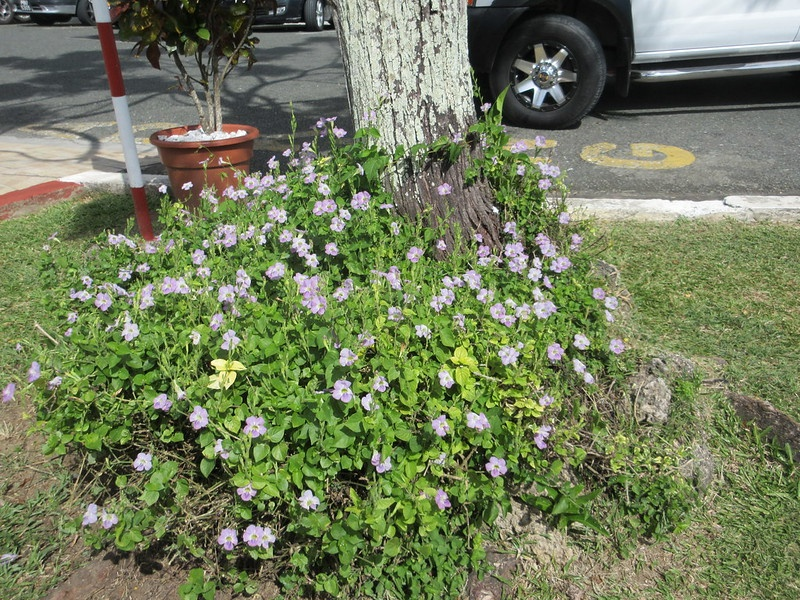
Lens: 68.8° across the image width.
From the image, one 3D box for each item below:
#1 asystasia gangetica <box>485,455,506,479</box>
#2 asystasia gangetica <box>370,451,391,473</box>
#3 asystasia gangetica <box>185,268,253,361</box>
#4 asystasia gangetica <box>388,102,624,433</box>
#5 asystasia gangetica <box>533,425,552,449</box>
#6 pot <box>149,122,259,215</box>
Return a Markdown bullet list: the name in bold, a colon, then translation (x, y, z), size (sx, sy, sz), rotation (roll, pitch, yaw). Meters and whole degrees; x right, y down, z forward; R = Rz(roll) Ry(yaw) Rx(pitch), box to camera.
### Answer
- **asystasia gangetica**: translation (0.403, 0.718, 2.459), size (0.081, 0.120, 0.103), rotation (2, 33, 7)
- **asystasia gangetica**: translation (-0.073, 0.670, 2.359), size (0.082, 0.105, 0.070), rotation (-6, 32, -5)
- **asystasia gangetica**: translation (-0.771, 0.060, 2.636), size (0.106, 0.201, 0.353), rotation (-24, 51, 34)
- **asystasia gangetica**: translation (0.658, -0.193, 3.511), size (1.183, 1.864, 0.546), rotation (-5, 2, -12)
- **asystasia gangetica**: translation (0.620, 0.610, 2.522), size (0.042, 0.131, 0.085), rotation (-7, 16, 27)
- **pot**: translation (-1.562, -1.120, 4.641), size (0.847, 0.703, 0.931), rotation (-2, 30, -5)
